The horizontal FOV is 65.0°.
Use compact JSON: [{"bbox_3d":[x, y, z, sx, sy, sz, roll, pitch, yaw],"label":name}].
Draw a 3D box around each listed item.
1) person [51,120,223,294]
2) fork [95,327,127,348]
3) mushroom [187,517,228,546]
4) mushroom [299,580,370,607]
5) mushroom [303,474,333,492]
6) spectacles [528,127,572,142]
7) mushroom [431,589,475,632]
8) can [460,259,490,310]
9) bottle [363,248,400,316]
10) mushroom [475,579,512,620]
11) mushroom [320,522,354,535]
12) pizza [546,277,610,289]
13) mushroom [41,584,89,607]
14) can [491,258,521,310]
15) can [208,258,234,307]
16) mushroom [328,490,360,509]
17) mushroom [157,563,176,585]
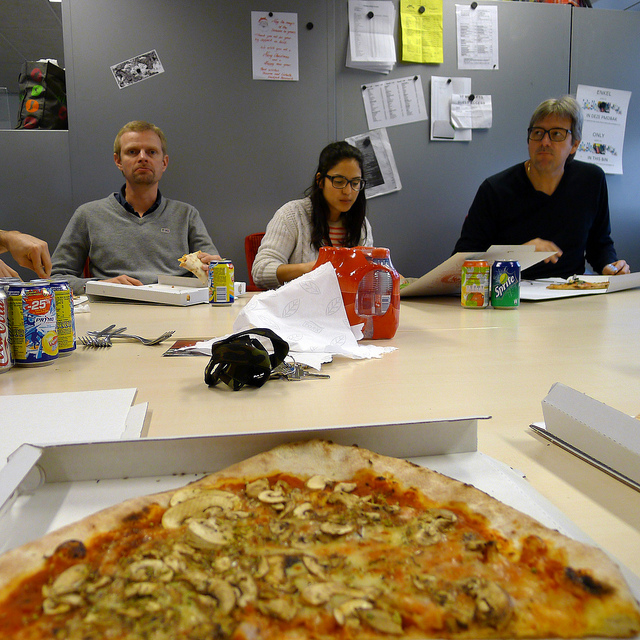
[{"bbox_3d":[-0.859,-0.514,2.431,0.886,0.837,0.526,-3,14,-27],"label":"person"},{"bbox_3d":[-0.427,0.036,1.022,0.022,0.011,0.073,0,13,4],"label":"fork"},{"bbox_3d":[-0.079,0.147,0.348,0.015,0.004,0.016,32,6,7],"label":"mushroom"},{"bbox_3d":[0.005,0.159,0.294,0.024,0.005,0.014,-1,7,-9],"label":"mushroom"},{"bbox_3d":[-0.003,0.130,0.398,0.014,0.004,0.011,-3,26,-3],"label":"mushroom"},{"bbox_3d":[1.095,-0.879,2.382,0.179,0.080,0.098,5,16,31],"label":"spectacles"},{"bbox_3d":[0.076,0.162,0.280,0.011,0.003,0.011,25,18,9],"label":"mushroom"},{"bbox_3d":[0.460,-0.105,1.483,0.083,0.142,0.087,-3,14,1],"label":"can"},{"bbox_3d":[0.108,-0.071,1.028,0.085,0.162,0.064,8,27,15],"label":"bottle"},{"bbox_3d":[0.099,0.159,0.282,0.010,0.005,0.014,1,29,1],"label":"mushroom"},{"bbox_3d":[0.010,0.146,0.355,0.014,0.003,0.008,-1,5,11],"label":"mushroom"},{"bbox_3d":[0.932,-0.136,1.820,0.194,0.036,0.161,3,15,24],"label":"pizza"},{"bbox_3d":[-0.150,0.163,0.296,0.019,0.005,0.012,17,9,-9],"label":"mushroom"},{"bbox_3d":[0.542,-0.103,1.469,0.076,0.133,0.090,1,14,18],"label":"can"},{"bbox_3d":[-0.324,-0.123,1.629,0.084,0.137,0.174,-4,14,-2],"label":"can"},{"bbox_3d":[0.019,0.138,0.389,0.011,0.004,0.011,-5,22,-40],"label":"mushroom"},{"bbox_3d":[-0.095,0.157,0.310,0.010,0.003,0.016,-3,14,1],"label":"mushroom"}]
